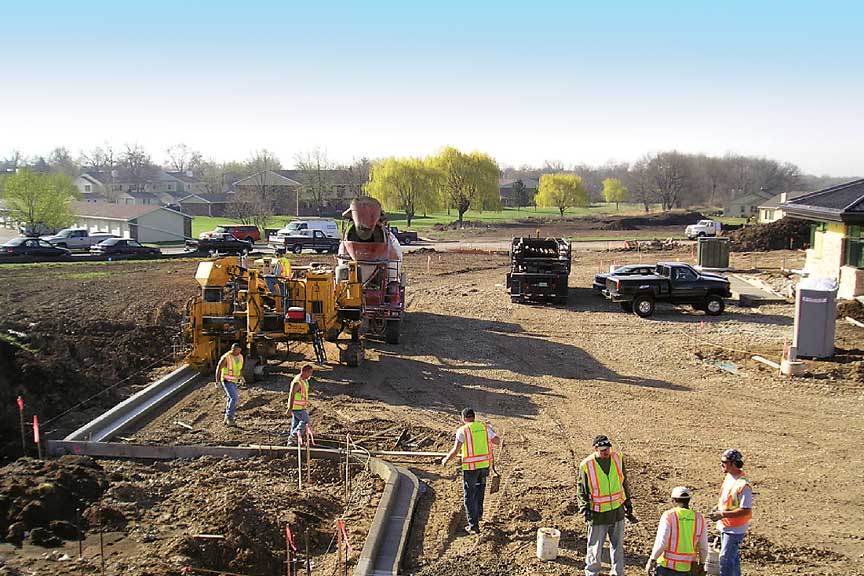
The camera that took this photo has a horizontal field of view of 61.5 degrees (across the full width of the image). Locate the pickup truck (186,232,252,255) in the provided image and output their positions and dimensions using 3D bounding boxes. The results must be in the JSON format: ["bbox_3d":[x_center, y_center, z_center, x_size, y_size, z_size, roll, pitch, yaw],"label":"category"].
[{"bbox_3d":[-14.266,-2.909,48.865,3.709,0.959,1.911,-2,9,-6],"label":"pickup truck"}]

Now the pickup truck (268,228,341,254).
[{"bbox_3d":[-8.409,-2.871,51.036,5.961,1.832,2.739,-3,9,-9],"label":"pickup truck"}]

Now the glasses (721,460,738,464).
[{"bbox_3d":[4.826,2.796,11.720,0.201,0.048,0.171,3,-5,3],"label":"glasses"}]

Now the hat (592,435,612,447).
[{"bbox_3d":[2.778,2.495,11.860,0.214,0.193,0.164,0,7,4],"label":"hat"}]

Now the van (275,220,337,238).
[{"bbox_3d":[-8.987,-4.414,52.972,3.874,1.456,1.814,-1,4,-22],"label":"van"}]

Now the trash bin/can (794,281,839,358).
[{"bbox_3d":[11.406,0.879,21.666,1.227,2.423,0.894,-4,9,-28],"label":"trash bin/can"}]

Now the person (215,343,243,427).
[{"bbox_3d":[-4.976,2.258,17.849,0.560,1.827,1.314,-2,8,-16],"label":"person"}]

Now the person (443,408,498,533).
[{"bbox_3d":[0.733,3.319,13.461,0.625,2.158,0.774,4,9,27],"label":"person"}]

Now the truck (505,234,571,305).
[{"bbox_3d":[4.253,-0.543,32.783,3.057,2.238,4.954,1,-3,-11],"label":"truck"}]

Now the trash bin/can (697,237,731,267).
[{"bbox_3d":[15.938,-2.097,41.085,2.318,1.735,1.697,-1,5,1],"label":"trash bin/can"}]

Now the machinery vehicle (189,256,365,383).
[{"bbox_3d":[-4.489,0.847,21.082,4.621,2.197,4.041,0,3,2],"label":"machinery vehicle"}]

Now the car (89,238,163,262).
[{"bbox_3d":[-19.099,-2.463,45.160,3.613,1.227,2.776,-3,7,-24],"label":"car"}]

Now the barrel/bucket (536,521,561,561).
[{"bbox_3d":[2.001,4.394,12.603,0.397,0.464,0.364,0,7,0],"label":"barrel/bucket"}]

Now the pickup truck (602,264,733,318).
[{"bbox_3d":[9.268,0.126,28.740,4.613,1.500,2.237,-2,9,-3],"label":"pickup truck"}]

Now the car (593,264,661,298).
[{"bbox_3d":[8.727,-0.359,30.267,3.453,0.958,1.405,-8,10,-9],"label":"car"}]

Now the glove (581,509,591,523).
[{"bbox_3d":[2.529,3.696,11.981,0.142,0.247,0.208,-1,7,-7],"label":"glove"}]
